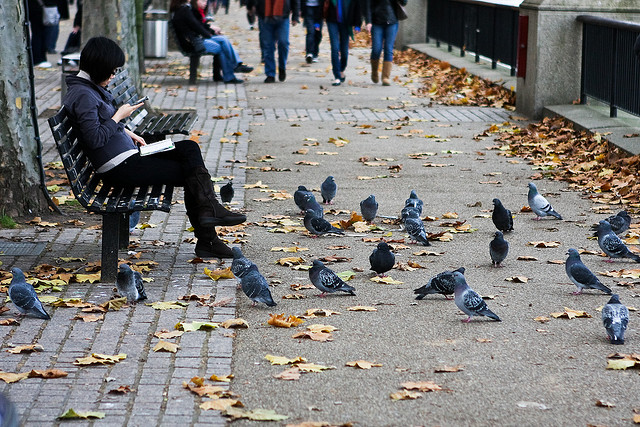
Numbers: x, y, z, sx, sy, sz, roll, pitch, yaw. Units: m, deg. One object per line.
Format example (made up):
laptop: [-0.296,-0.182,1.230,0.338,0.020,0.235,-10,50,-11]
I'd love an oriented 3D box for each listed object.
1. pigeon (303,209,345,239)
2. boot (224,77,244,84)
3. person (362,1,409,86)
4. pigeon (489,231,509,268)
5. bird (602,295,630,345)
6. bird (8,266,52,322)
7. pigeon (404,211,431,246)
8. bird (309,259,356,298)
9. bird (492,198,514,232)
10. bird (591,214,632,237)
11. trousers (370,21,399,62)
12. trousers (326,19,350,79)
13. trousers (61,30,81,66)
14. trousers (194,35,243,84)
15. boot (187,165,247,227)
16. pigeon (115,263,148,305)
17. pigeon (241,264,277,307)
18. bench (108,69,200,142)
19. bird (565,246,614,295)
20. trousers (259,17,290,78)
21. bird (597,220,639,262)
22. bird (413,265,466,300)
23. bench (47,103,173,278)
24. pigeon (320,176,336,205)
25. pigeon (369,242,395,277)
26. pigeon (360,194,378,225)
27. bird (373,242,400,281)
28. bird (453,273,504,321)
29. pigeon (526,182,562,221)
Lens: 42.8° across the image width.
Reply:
pigeon: [0.045,0.139,9.308,0.519,0.307,0.234,6,-1,-23]
boot: [-2.029,-3.173,19.553,0.529,0.184,0.169,-2,8,-6]
person: [1.481,-3.897,18.830,0.962,1.988,1.005,-1,20,3]
pigeon: [1.846,0.375,8.416,0.171,0.390,0.222,2,20,11]
bird: [2.475,0.897,6.830,0.198,0.297,0.504,4,24,13]
bird: [-2.591,0.736,7.210,0.419,0.428,0.180,13,25,36]
pigeon: [1.095,0.192,9.080,0.280,0.353,0.391,1,19,7]
bird: [0.115,0.625,7.826,0.499,0.336,0.257,3,4,-14]
bird: [2.119,0.027,9.412,0.191,0.433,0.298,14,25,37]
bird: [3.161,0.137,8.772,0.574,0.296,0.204,1,-1,-16]
trousers: [1.468,-3.881,18.663,0.585,0.929,0.620,0,20,4]
trousers: [0.498,-3.868,19.308,0.516,1.299,0.618,2,-1,-1]
trousers: [-7.215,-5.052,23.836,0.386,0.655,1.520,-9,20,-19]
trousers: [-2.298,-3.726,19.181,1.153,1.170,0.749,2,-3,-1]
boot: [-1.095,-0.155,8.634,0.667,0.591,0.324,-1,-8,-27]
pigeon: [-1.756,0.657,7.667,0.260,0.399,0.400,1,3,19]
pigeon: [-0.552,0.650,7.533,0.489,0.389,0.247,6,2,41]
bench: [-2.215,-1.237,10.626,1.045,0.914,1.676,16,-2,-6]
bird: [2.540,0.565,7.756,0.550,0.373,0.245,13,7,14]
trousers: [-1.080,-3.983,19.628,0.663,1.451,0.825,-3,20,-4]
bird: [3.078,0.299,8.408,0.444,0.365,0.158,12,24,34]
bird: [1.116,0.660,7.621,0.514,0.263,0.175,-5,11,-16]
bench: [-2.189,-0.186,8.602,0.787,1.043,1.922,-2,12,-7]
pigeon: [0.114,-0.295,10.441,0.188,0.401,0.306,-2,20,-1]
pigeon: [0.630,0.472,8.154,0.244,0.370,0.180,-2,20,-2]
pigeon: [0.584,-0.044,9.738,0.178,0.394,0.234,-1,20,2]
bird: [0.644,0.452,8.282,0.292,0.406,0.452,7,12,-1]
bird: [1.383,0.755,7.294,0.589,0.383,0.245,8,2,-18]
pigeon: [2.733,-0.130,9.887,0.505,0.412,0.280,6,9,-8]
